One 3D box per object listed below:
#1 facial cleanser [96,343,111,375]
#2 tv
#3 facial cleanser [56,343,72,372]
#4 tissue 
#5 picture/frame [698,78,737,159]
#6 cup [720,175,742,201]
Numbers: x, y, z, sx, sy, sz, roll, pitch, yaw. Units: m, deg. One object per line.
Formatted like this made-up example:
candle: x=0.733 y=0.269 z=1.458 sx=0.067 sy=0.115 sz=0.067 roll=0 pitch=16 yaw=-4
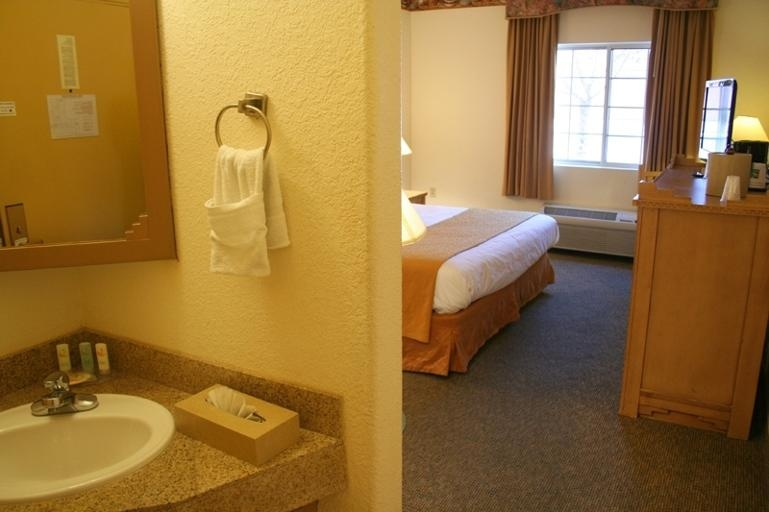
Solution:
facial cleanser: x=-1.073 y=0.387 z=2.167 sx=0.047 sy=0.116 sz=0.052 roll=-7 pitch=15 yaw=-18
tv: x=2.498 y=-1.007 z=4.341 sx=0.451 sy=0.606 sz=0.068 roll=-12 pitch=15 yaw=-36
facial cleanser: x=-1.218 y=0.386 z=2.160 sx=0.046 sy=0.108 sz=0.053 roll=-11 pitch=17 yaw=-31
tissue : x=-0.482 y=0.533 z=1.862 sx=0.402 sy=0.160 sz=0.194 roll=5 pitch=16 yaw=24
picture/frame: x=2.506 y=-1.006 z=4.350 sx=0.330 sy=0.571 sz=0.056 roll=-6 pitch=15 yaw=-14
cup: x=1.849 y=-0.353 z=3.037 sx=0.132 sy=0.176 sz=0.127 roll=0 pitch=5 yaw=0
